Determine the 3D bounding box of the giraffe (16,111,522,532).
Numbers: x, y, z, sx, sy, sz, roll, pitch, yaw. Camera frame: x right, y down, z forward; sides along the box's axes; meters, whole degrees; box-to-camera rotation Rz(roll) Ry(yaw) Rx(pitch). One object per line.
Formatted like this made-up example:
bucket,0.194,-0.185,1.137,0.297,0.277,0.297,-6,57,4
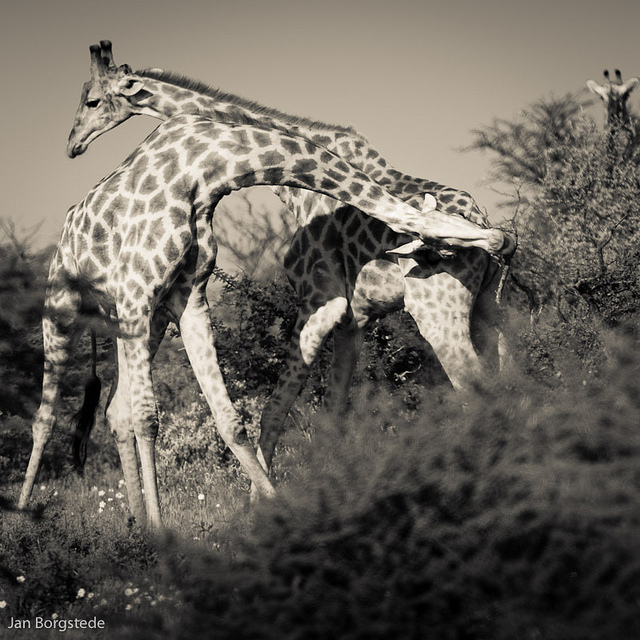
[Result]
giraffe,-0.751,-0.177,5.101,3.230,2.687,0.850,-23,-20,12
